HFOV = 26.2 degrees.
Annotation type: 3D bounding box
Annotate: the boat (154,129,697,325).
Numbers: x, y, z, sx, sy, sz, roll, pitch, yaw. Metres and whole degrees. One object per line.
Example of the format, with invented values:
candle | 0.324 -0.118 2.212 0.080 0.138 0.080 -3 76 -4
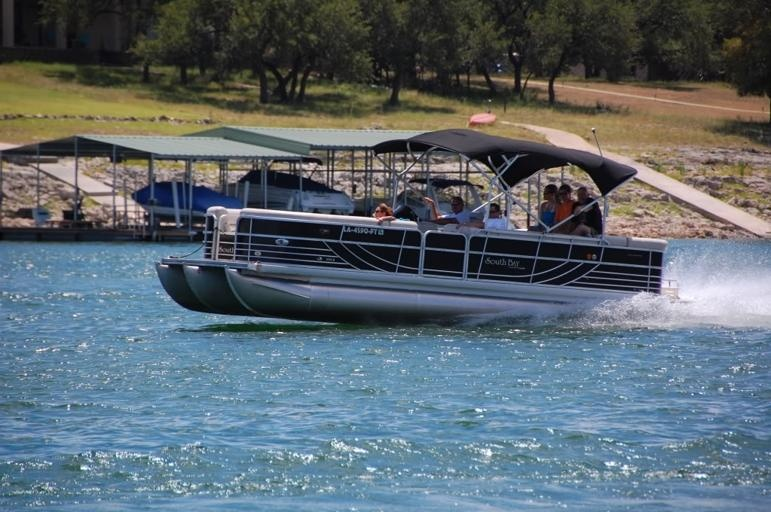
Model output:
boat | -0.291 0.374 82.729 31.325 9.264 9.372 1 0 -10
